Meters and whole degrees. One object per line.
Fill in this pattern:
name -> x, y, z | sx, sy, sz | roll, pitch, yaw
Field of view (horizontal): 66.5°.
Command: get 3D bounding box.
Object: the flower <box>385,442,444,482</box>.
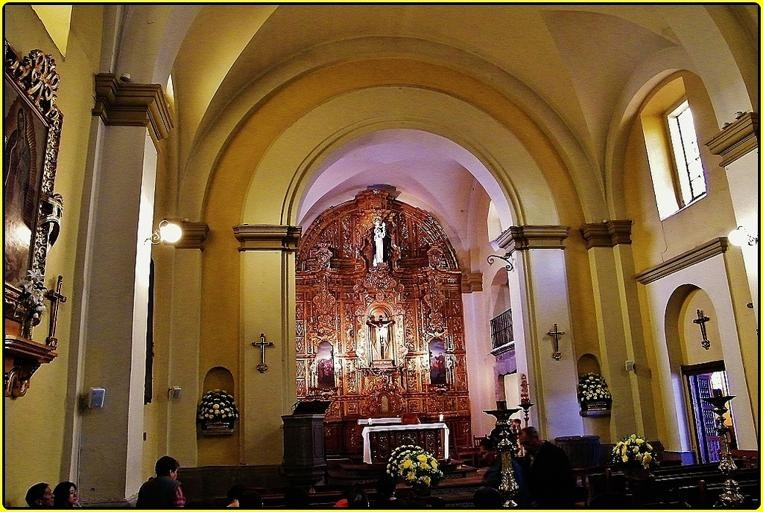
flower -> 0.416, 2.778, 7.745 | 0.702, 0.479, 0.651 | -3, -19, -1

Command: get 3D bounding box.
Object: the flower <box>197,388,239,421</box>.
flower -> -3.187, 2.889, 11.375 | 0.676, 0.463, 0.631 | -2, -12, 2

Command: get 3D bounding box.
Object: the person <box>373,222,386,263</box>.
person -> -0.058, -0.433, 19.390 | 0.495, 1.600, 0.426 | -1, -21, -7

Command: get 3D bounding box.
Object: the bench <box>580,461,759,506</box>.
bench -> 4.054, 3.140, 7.913 | 2.320, 0.434, 3.080 | -9, -19, 18

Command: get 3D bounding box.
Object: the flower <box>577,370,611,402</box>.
flower -> 4.418, 2.744, 12.186 | 0.642, 0.553, 0.566 | 6, -24, -13

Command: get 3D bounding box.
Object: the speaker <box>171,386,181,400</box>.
speaker -> -4.018, 2.663, 11.349 | 0.198, 0.224, 0.098 | 3, -21, -18

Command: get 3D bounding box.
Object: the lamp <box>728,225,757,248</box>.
lamp -> 5.562, -0.282, 8.924 | 0.337, 0.326, 0.295 | -13, -22, 27

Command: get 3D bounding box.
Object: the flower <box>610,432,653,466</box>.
flower -> 3.946, 3.002, 8.925 | 0.652, 0.450, 0.612 | 8, -18, -15

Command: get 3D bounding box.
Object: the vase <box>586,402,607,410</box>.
vase -> 4.433, 3.067, 11.895 | 0.375, 0.150, 0.112 | 3, -21, -16

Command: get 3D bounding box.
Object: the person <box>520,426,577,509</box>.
person -> 2.028, 2.554, 7.072 | 0.533, 0.892, 0.648 | -4, -20, 1

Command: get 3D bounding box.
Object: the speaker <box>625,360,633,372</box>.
speaker -> 5.204, 2.307, 12.251 | 0.206, 0.198, 0.157 | 0, 3, 1

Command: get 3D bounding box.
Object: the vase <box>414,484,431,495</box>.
vase -> 0.530, 3.011, 7.491 | 0.213, 0.150, 0.181 | -4, -19, 1

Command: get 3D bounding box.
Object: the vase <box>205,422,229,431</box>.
vase -> -3.201, 3.307, 11.324 | 0.419, 0.132, 0.158 | 3, -20, -17
